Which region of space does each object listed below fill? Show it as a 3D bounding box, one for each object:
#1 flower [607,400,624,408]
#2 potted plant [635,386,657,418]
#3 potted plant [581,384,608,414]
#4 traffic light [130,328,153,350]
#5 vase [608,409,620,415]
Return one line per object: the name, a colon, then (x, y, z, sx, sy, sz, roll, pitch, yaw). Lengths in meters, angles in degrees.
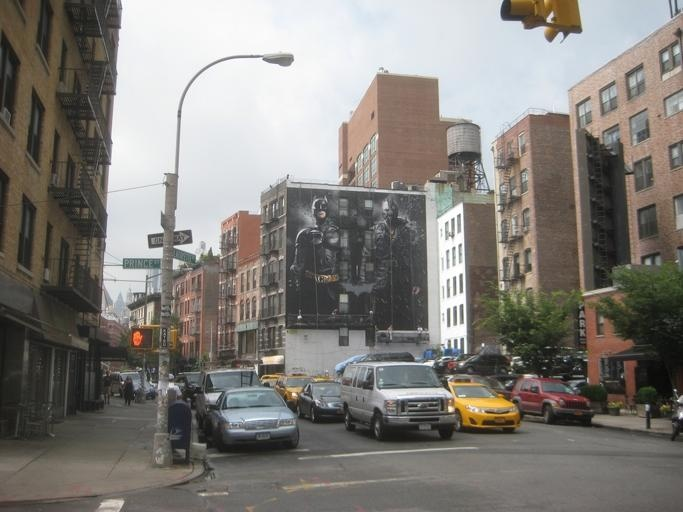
flower: (14.062, 7.609, 35.818, 0.605, 0.441, 0.623, 3, -8, -4)
potted plant: (14.536, 6.899, 33.086, 0.953, 1.368, 1.382, -9, -16, 18)
potted plant: (13.300, 7.393, 36.360, 1.316, 1.927, 1.475, -6, -13, 36)
traffic light: (-6.060, 2.498, 21.109, 0.670, 0.698, 0.233, -3, 3, -31)
vase: (13.607, 7.735, 34.777, 0.365, 0.246, 0.370, 3, -5, -20)
